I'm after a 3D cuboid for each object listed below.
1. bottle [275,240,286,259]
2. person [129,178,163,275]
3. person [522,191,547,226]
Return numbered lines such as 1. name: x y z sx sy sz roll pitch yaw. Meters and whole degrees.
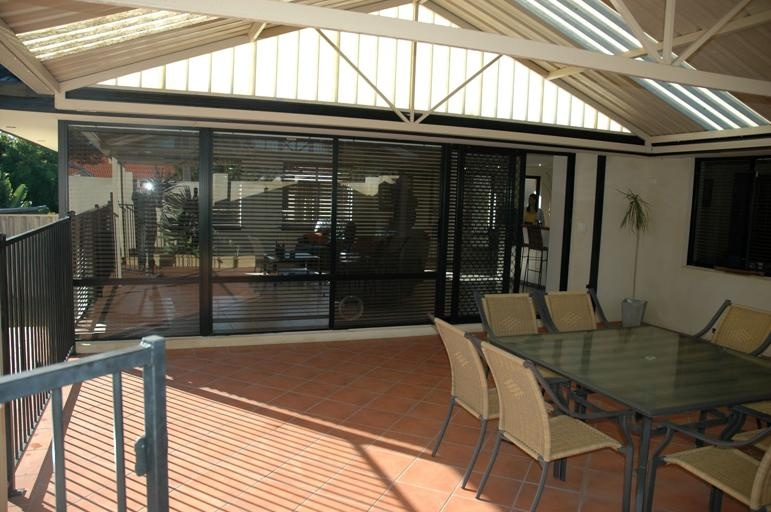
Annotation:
1. bottle: -1.475 -0.067 7.812 0.136 0.256 0.042 -4 16 -25
2. person: -3.137 -0.372 7.326 0.318 1.195 0.207 -3 16 -22
3. person: 3.177 -0.980 11.680 0.411 0.612 0.714 7 15 15
